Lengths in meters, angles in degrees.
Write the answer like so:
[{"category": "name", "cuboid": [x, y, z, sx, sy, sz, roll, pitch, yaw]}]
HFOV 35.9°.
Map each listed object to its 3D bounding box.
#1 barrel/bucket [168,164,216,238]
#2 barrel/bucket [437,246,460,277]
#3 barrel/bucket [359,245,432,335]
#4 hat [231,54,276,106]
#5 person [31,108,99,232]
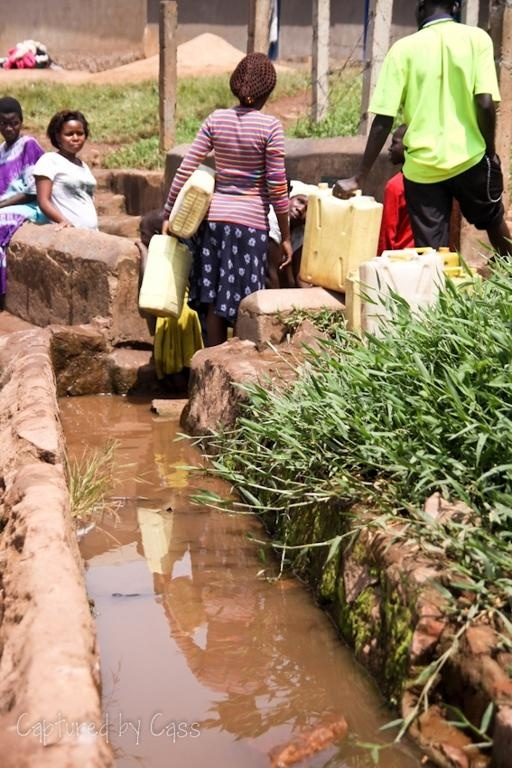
[{"category": "barrel/bucket", "cuboid": [-0.356, -1.036, 4.521, 0.176, 0.319, 0.326, 26, 45, -7]}, {"category": "barrel/bucket", "cuboid": [0.928, -0.586, 3.810, 0.112, 0.133, 0.361, 5, 11, 13]}, {"category": "barrel/bucket", "cuboid": [0.607, -0.402, 3.487, 0.355, 0.362, 0.796, 5, 12, 17]}, {"category": "hat", "cuboid": [-0.009, -1.720, 4.455, 0.263, 0.332, 0.259, -2, 12, -18]}, {"category": "person", "cuboid": [-1.502, -1.702, 6.312, 0.410, 0.897, 0.459, 3, 12, 5]}]
